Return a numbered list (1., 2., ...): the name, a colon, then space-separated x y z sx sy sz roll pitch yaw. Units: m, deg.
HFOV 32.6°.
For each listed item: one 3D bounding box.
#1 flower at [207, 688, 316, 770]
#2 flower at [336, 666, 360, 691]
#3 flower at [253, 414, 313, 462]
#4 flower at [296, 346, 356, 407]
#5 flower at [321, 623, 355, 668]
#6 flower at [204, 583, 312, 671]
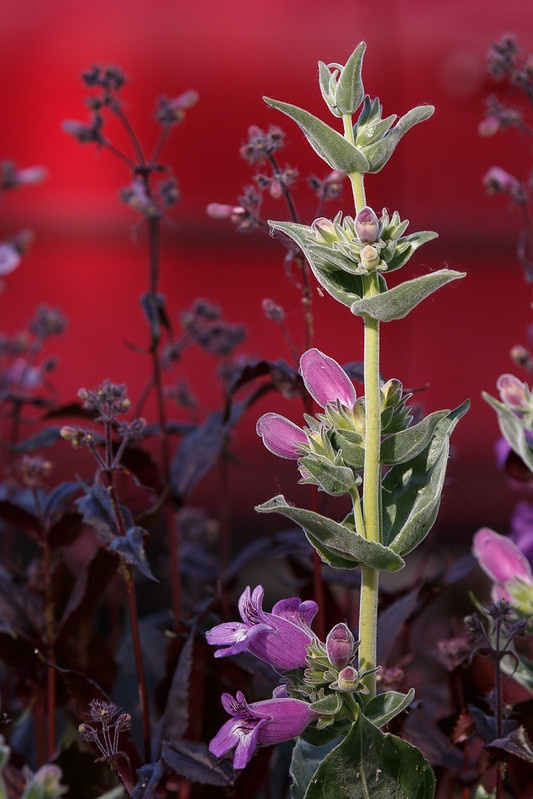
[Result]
1. flower: -0.002 0.166 0.486 0.063 0.030 0.035 -10 23 -20
2. flower: 0.041 0.141 0.459 0.011 0.014 0.010 15 -37 -12
3. flower: 0.013 0.020 0.506 0.028 0.026 0.037 -5 -6 17
4. flower: 0.036 -0.011 0.512 0.033 0.036 0.023 -5 -6 16
5. flower: 0.039 0.125 0.462 0.012 0.025 0.010 2 8 2
6. flower: -0.001 0.126 0.492 0.059 0.046 0.054 -3 -6 0
